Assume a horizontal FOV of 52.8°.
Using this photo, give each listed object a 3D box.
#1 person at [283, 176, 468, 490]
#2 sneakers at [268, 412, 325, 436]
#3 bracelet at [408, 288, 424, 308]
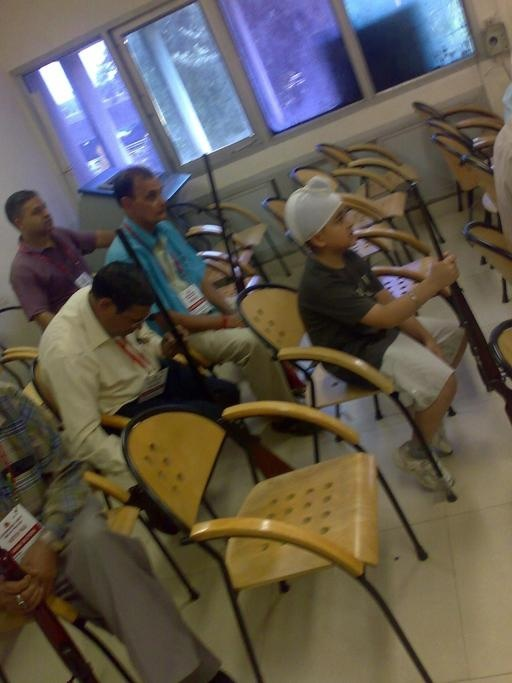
[{"bbox_3d":[0.434,-0.021,1.716,0.537,1.004,0.436,-8,15,19],"label":"person"},{"bbox_3d":[0.157,0.318,2.034,0.107,0.187,0.041,-95,29,-49],"label":"sneakers"},{"bbox_3d":[0.464,-0.129,1.518,0.050,0.048,0.046,6,-3,-37],"label":"bracelet"}]
